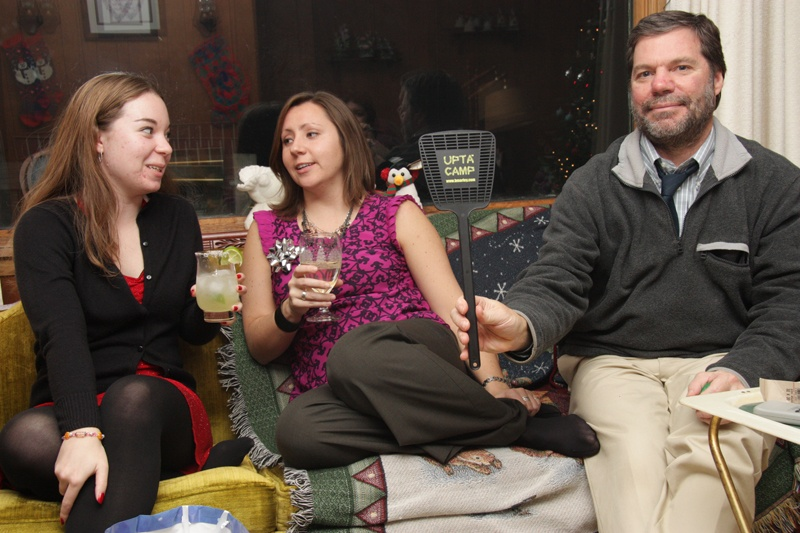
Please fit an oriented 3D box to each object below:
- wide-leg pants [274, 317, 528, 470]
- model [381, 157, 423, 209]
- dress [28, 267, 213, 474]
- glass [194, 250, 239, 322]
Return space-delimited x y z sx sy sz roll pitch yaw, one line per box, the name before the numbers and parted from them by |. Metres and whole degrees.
wide-leg pants | -0.009 0.342 1.911 0.633 0.343 0.493 -2 5 0
model | 0.041 -0.399 2.830 0.224 0.292 0.146 -10 9 -5
dress | -0.781 0.349 1.857 0.477 0.697 0.240 -6 6 -20
glass | -0.617 0.063 1.949 0.192 0.238 0.200 -3 7 -10
